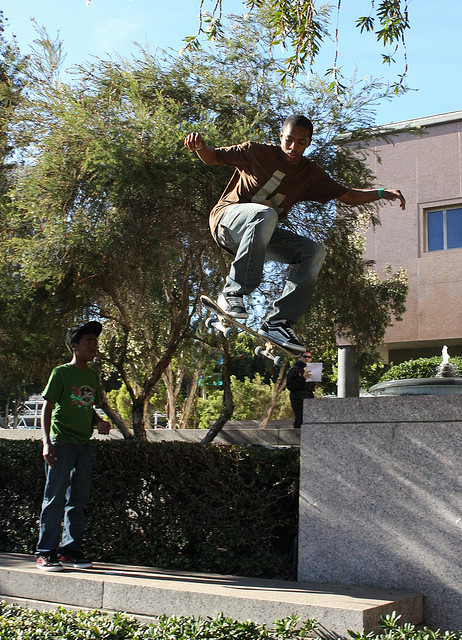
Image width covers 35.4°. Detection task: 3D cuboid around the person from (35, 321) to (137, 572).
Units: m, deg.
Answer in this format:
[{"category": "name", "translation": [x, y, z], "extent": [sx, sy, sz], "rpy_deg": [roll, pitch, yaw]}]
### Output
[{"category": "person", "translation": [-1.242, 0.922, 5.636], "extent": [0.446, 1.845, 0.860], "rpy_deg": [1, -2, -11]}]

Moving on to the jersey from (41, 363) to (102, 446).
[{"category": "jersey", "translation": [-1.265, 0.694, 5.845], "extent": [0.312, 0.598, 0.597], "rpy_deg": [-12, -15, 39]}]

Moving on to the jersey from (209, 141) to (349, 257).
[{"category": "jersey", "translation": [0.383, -1.175, 6.050], "extent": [1.146, 0.506, 0.440], "rpy_deg": [1, -2, -13]}]
